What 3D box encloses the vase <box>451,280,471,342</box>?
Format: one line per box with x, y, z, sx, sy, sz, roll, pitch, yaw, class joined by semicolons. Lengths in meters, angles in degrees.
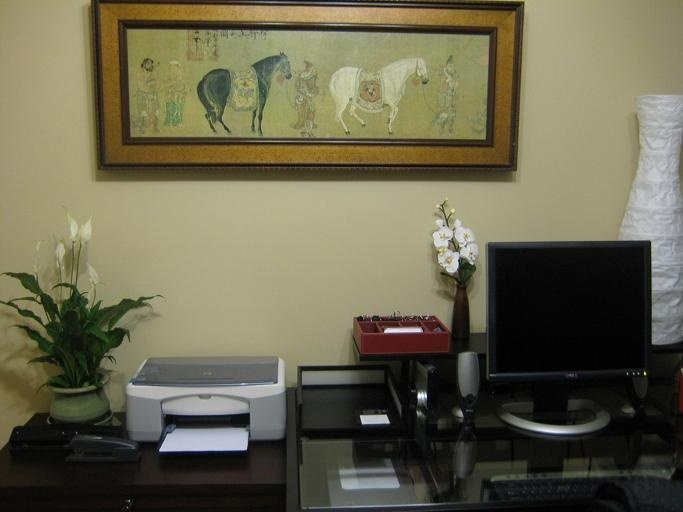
0.503;0.232;2.532;0.075;0.235;0.183;0;12;12;vase

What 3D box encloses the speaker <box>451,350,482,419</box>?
0.483;0.500;2.346;0.087;0.265;0.109;4;12;-7;speaker

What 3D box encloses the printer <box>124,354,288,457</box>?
-0.514;0.560;2.260;0.491;0.315;0.400;1;11;-8;printer

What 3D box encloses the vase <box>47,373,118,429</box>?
-1.026;0.562;2.318;0.170;0.135;0.176;0;-6;-5;vase

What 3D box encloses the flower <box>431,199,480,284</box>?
0.473;-0.061;2.519;0.183;0.352;0.154;-2;12;4;flower

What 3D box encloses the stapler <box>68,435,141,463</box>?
-0.868;0.705;2.155;0.218;0.068;0.082;0;4;3;stapler
